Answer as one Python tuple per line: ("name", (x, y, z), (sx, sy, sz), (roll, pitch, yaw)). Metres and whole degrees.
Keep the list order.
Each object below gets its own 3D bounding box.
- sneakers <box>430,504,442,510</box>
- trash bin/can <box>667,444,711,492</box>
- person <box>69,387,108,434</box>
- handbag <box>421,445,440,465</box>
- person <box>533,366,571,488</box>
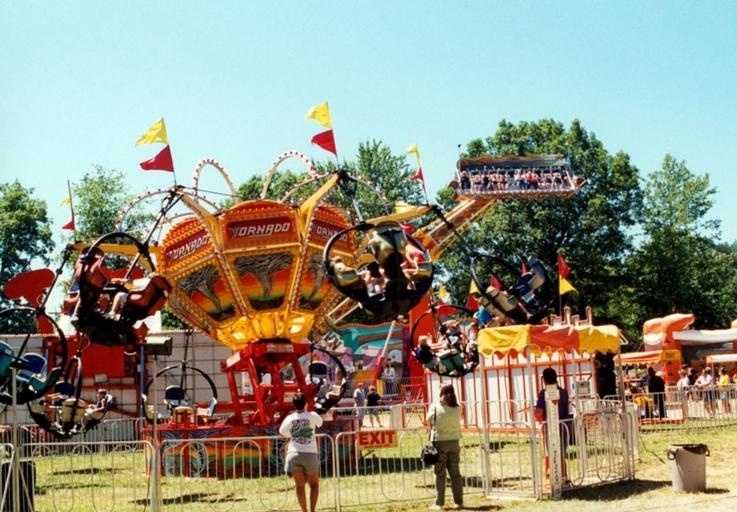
("sneakers", (1.389, 5.151, 20.437), (0.238, 0.106, 0.090), (1, -15, 24))
("trash bin/can", (6.735, 4.444, 20.887), (0.774, 1.005, 0.385), (-9, -14, 17))
("person", (-6.332, 3.491, 22.493), (0.801, 0.997, 0.683), (10, -5, -26))
("handbag", (1.247, 4.075, 20.486), (0.383, 0.371, 0.376), (4, 13, -5))
("person", (3.984, 3.643, 21.399), (0.747, 2.458, 1.231), (-7, -13, 10))
